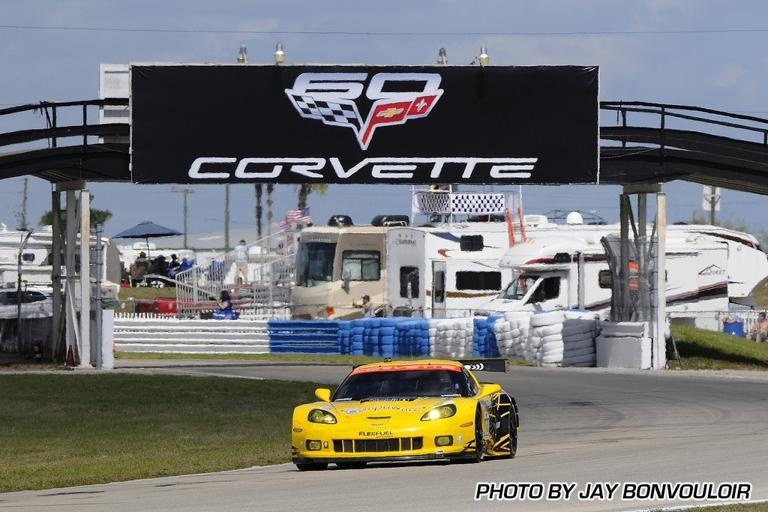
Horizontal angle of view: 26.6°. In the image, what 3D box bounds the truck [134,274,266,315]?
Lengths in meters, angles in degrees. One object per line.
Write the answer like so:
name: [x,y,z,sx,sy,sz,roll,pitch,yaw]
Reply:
truck: [-6.456,1.340,59.816,4.845,1.848,14.064,1,-3,-8]
